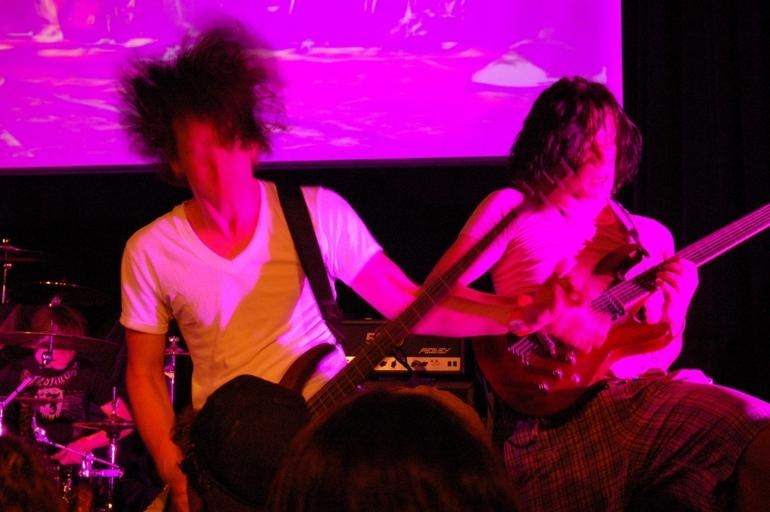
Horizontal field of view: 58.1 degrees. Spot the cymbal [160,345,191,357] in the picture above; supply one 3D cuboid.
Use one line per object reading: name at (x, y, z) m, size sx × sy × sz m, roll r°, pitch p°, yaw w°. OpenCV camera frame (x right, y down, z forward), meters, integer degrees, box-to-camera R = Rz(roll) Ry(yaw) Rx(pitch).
cymbal at (-1.543, 0.725, 5.167) m, size 0.252 × 0.057 × 0.247 m, roll 11°, pitch -15°, yaw -43°
